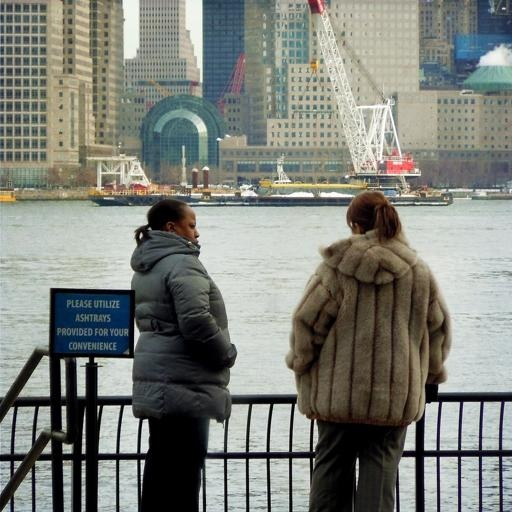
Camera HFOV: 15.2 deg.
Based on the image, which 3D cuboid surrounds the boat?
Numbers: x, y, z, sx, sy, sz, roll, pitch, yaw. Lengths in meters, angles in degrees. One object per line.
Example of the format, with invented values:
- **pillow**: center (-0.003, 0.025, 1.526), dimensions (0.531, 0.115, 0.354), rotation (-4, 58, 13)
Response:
- **boat**: center (0.154, -8.133, 266.062), dimensions (50.676, 2.846, 4.530), rotation (0, 0, -3)

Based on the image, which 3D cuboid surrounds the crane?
- **crane**: center (17.595, -26.706, 314.839), dimensions (16.915, 30.117, 107.975), rotation (-2, 4, 4)
